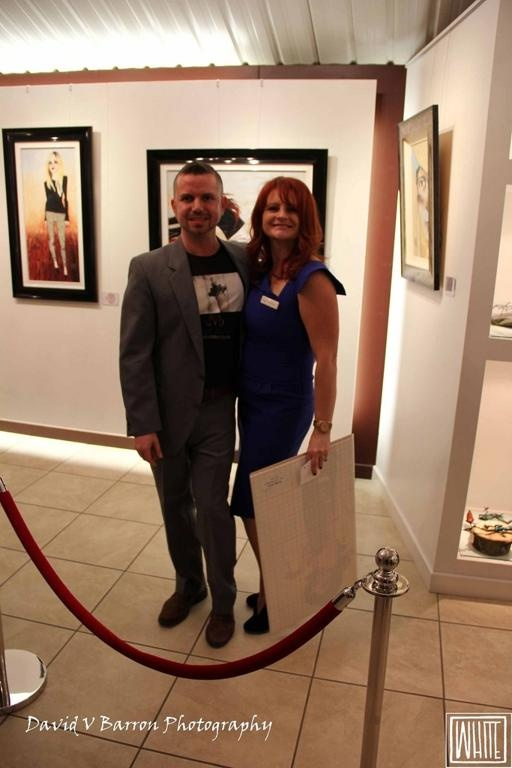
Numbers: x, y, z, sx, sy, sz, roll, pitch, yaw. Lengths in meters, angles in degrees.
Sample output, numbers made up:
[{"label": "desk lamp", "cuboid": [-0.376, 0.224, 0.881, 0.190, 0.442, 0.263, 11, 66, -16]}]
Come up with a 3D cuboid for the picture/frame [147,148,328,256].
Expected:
[{"label": "picture/frame", "cuboid": [-0.047, -0.876, 2.594, 0.973, 0.740, 0.047, 2, 11, 9]}]

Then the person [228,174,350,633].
[{"label": "person", "cuboid": [0.089, 0.018, 1.931, 0.396, 1.385, 0.482, 5, 17, 17]}]

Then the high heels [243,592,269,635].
[{"label": "high heels", "cuboid": [0.016, 0.905, 2.235, 0.083, 0.062, 0.159, -22, 42, 46]}]

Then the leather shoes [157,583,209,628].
[{"label": "leather shoes", "cuboid": [-0.314, 0.911, 2.305, 0.070, 0.093, 0.214, 0, 3, 22]}]

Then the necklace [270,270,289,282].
[{"label": "necklace", "cuboid": [0.082, -0.375, 1.937, 0.026, 0.022, 0.097, -8, 24, -12]}]

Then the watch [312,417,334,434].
[{"label": "watch", "cuboid": [0.218, 0.131, 1.895, 0.056, 0.039, 0.053, 5, 3, 21]}]
